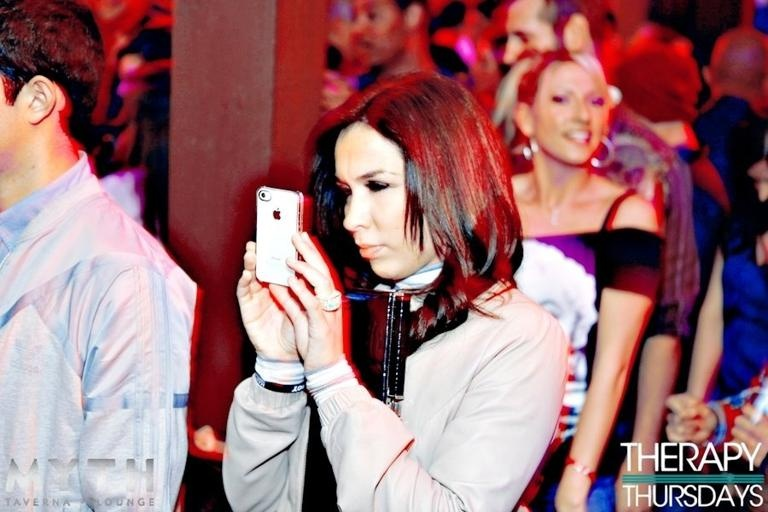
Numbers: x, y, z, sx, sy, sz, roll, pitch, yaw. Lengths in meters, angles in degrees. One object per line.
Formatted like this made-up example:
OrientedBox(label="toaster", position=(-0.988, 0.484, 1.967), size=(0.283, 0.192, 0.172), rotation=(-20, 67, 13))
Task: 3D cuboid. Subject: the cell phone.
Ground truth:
OrientedBox(label="cell phone", position=(-0.302, -0.052, 2.447), size=(0.141, 0.272, 0.133), rotation=(1, -17, -6))
